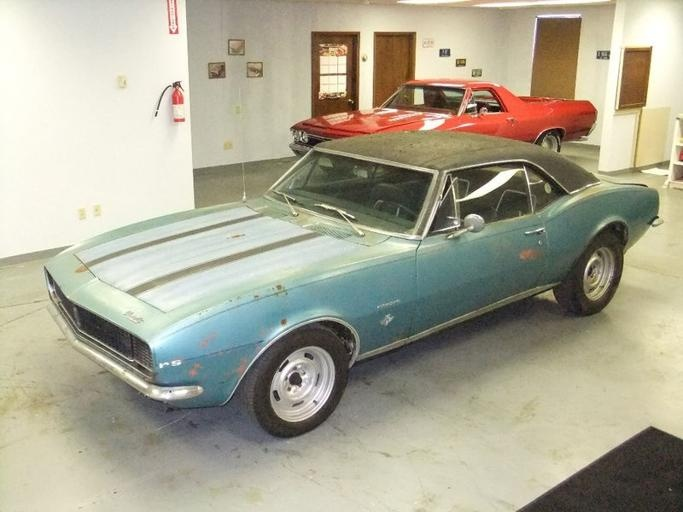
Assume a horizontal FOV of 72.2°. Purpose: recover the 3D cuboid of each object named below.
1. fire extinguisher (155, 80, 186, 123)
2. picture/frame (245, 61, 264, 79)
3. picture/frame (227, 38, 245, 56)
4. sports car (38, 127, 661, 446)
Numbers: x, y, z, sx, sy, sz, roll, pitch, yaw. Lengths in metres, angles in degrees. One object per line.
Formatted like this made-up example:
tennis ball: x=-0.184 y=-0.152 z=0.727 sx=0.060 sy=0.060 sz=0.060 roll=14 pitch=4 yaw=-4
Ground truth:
fire extinguisher: x=-2.482 y=-2.207 z=6.736 sx=0.485 sy=0.575 sz=0.181 roll=-10 pitch=23 yaw=-23
picture/frame: x=-2.036 y=-4.313 z=10.826 sx=0.461 sy=0.370 sz=0.057 roll=-8 pitch=26 yaw=-30
picture/frame: x=-2.387 y=-4.682 z=10.462 sx=0.492 sy=0.340 sz=0.038 roll=-7 pitch=17 yaw=-39
sports car: x=0.599 y=-0.167 z=4.456 sx=5.784 sy=1.879 sz=1.989 roll=-13 pitch=23 yaw=-31
